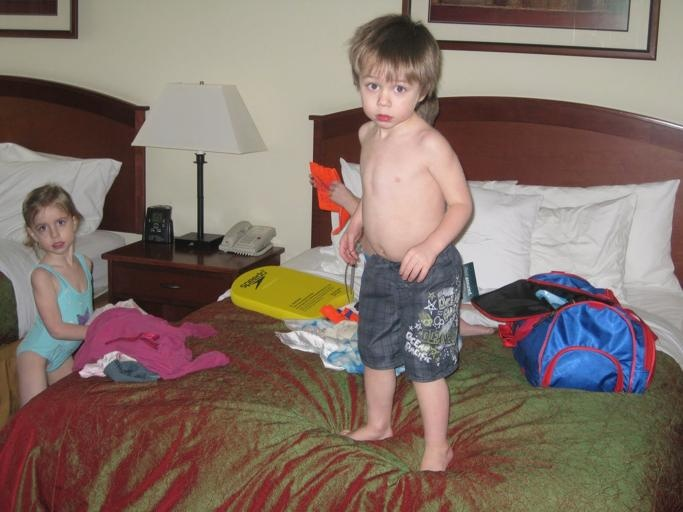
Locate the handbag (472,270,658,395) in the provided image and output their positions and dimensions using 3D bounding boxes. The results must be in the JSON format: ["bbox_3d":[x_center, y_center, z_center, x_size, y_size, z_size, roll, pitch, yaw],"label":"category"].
[{"bbox_3d":[0.857,0.283,2.251,0.582,0.284,0.734,-1,13,1],"label":"handbag"}]

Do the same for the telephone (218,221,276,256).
[{"bbox_3d":[-0.538,-0.101,3.387,0.249,0.140,0.333,4,17,19],"label":"telephone"}]

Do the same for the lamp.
[{"bbox_3d":[-0.739,-0.544,3.465,0.796,1.169,0.667,5,12,15],"label":"lamp"}]

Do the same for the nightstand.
[{"bbox_3d":[-0.875,-0.054,3.185,0.592,0.611,0.454,6,17,14],"label":"nightstand"}]
